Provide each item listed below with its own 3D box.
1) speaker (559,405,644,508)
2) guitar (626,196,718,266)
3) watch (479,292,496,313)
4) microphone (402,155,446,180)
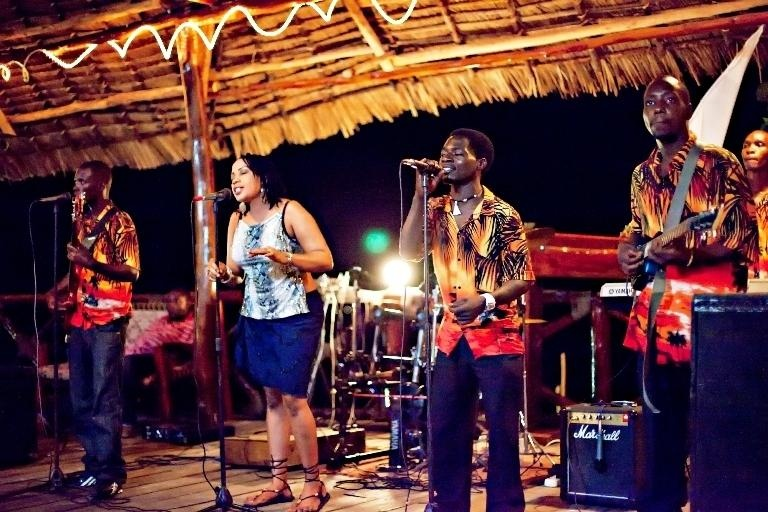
[{"bbox_3d":[1.546,1.427,5.447,0.658,0.654,0.463,-1,-4,3],"label":"speaker"},{"bbox_3d":[1.550,-0.080,3.952,0.117,0.273,0.433,5,-11,-32],"label":"guitar"},{"bbox_3d":[0.603,0.264,4.346,0.073,0.107,0.108,-1,-4,-9],"label":"watch"},{"bbox_3d":[0.279,-0.542,4.493,0.377,0.101,0.097,-1,2,-44],"label":"microphone"}]
